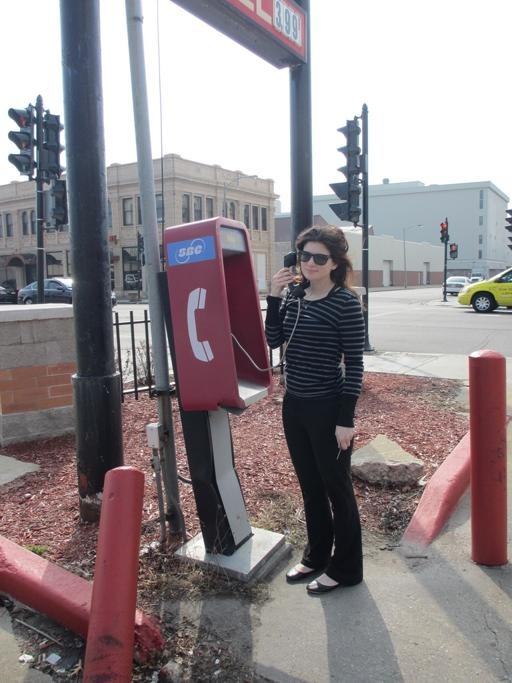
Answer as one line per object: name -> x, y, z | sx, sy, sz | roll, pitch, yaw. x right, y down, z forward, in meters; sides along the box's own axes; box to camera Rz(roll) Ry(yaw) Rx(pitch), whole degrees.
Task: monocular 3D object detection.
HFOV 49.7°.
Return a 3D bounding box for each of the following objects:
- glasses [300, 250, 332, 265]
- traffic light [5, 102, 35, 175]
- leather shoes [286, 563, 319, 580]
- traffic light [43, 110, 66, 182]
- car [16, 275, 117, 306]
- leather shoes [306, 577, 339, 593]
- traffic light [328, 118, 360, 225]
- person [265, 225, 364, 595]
glasses -> 0.263, -0.377, 2.558 | 0.148, 0.066, 0.080 | 2, 6, 14
traffic light -> -4.071, -3.466, 9.629 | 0.436, 1.171, 0.495 | -2, 7, -22
leather shoes -> 0.221, 1.106, 2.673 | 0.059, 0.068, 0.166 | -7, -14, 40
traffic light -> -3.582, -3.402, 9.711 | 0.353, 1.304, 0.794 | -2, 7, -19
car -> -10.416, -2.405, 27.308 | 2.593, 1.377, 8.735 | -3, 7, -23
leather shoes -> 0.297, 1.119, 2.522 | 0.156, 0.061, 0.057 | 1, -8, -18
traffic light -> 1.348, -2.609, 8.340 | 0.439, 1.607, 0.798 | 1, 6, 9
person -> 0.316, 0.309, 2.605 | 0.386, 1.675, 0.394 | 0, 6, 4
